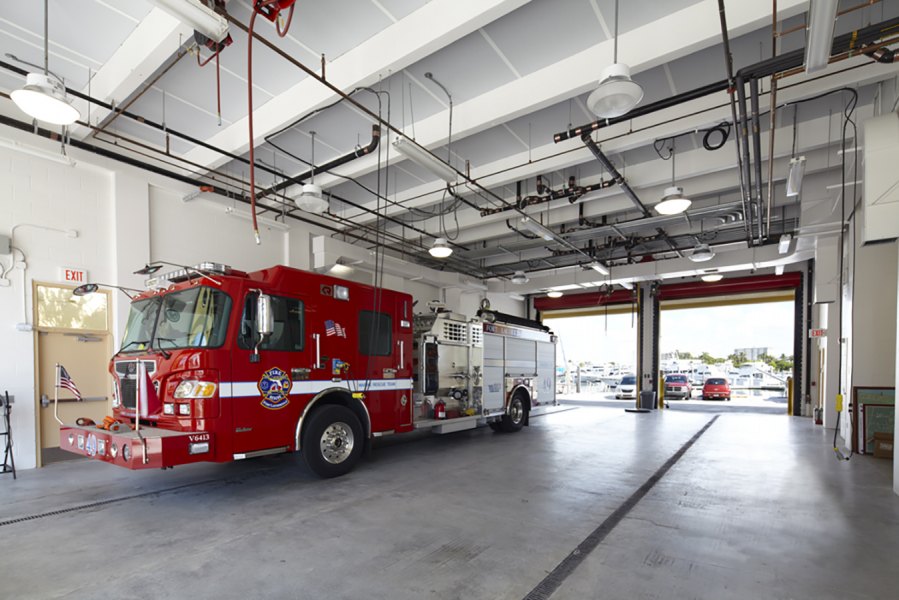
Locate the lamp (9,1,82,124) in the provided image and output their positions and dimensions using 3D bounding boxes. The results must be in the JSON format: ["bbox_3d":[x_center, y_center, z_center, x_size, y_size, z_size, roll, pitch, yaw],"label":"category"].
[{"bbox_3d":[-6.529,-3.781,9.191,0.794,2.047,2.647,-8,13,-33],"label":"lamp"}]

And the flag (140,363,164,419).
[{"bbox_3d":[-4.717,1.408,9.112,0.507,0.850,0.202,6,13,27],"label":"flag"}]

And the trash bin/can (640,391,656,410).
[{"bbox_3d":[7.399,3.611,21.173,0.656,0.819,0.594,-6,-15,32],"label":"trash bin/can"}]

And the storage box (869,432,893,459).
[{"bbox_3d":[8.649,2.848,11.551,0.436,0.431,0.453,-2,-6,30],"label":"storage box"}]
